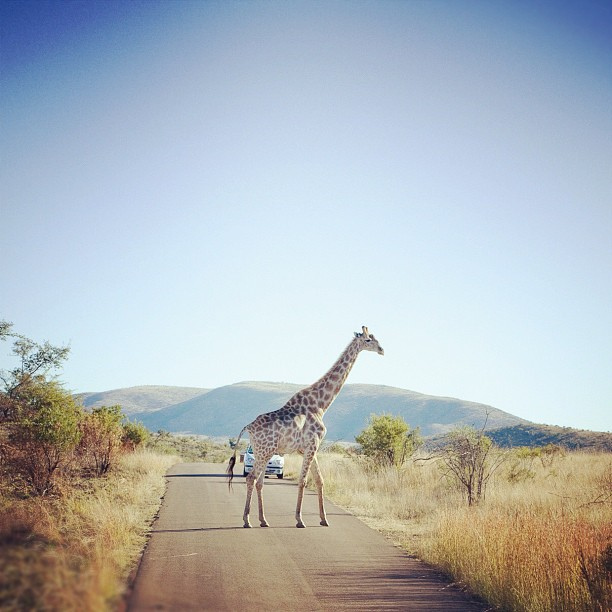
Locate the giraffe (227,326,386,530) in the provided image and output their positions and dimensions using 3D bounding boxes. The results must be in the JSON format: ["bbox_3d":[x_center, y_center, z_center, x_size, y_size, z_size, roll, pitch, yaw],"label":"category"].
[{"bbox_3d":[-0.148,2.955,14.238,1.514,4.027,3.392,-4,-9,43],"label":"giraffe"}]
